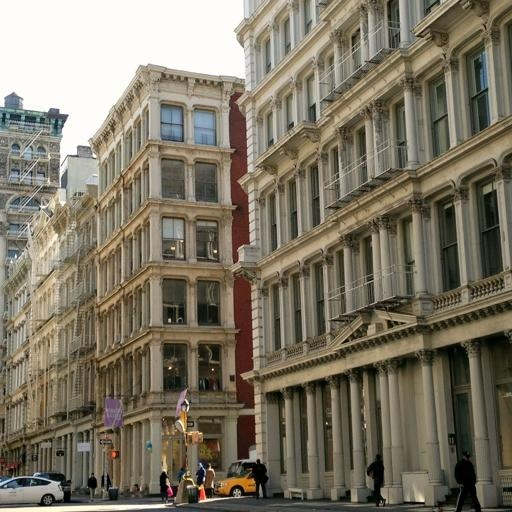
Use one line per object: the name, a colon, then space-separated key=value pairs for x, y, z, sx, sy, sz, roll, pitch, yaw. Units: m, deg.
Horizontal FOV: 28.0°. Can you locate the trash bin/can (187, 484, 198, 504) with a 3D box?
trash bin/can: x=-2.486 y=9.393 z=40.422 sx=0.491 sy=0.923 sz=0.524 roll=1 pitch=-23 yaw=-4

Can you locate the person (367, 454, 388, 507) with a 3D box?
person: x=3.953 y=7.304 z=33.350 sx=0.526 sy=1.741 sz=1.185 roll=-4 pitch=-20 yaw=6

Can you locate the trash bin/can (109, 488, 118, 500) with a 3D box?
trash bin/can: x=-7.385 y=12.332 z=53.113 sx=0.433 sy=0.826 sz=1.448 roll=1 pitch=-21 yaw=-9

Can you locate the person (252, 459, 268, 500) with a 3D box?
person: x=0.220 y=9.230 z=42.744 sx=0.605 sy=1.772 sz=1.450 roll=-1 pitch=-20 yaw=-1

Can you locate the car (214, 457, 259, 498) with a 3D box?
car: x=-0.729 y=10.505 z=48.318 sx=2.254 sy=1.339 sz=1.382 roll=3 pitch=-17 yaw=-12
